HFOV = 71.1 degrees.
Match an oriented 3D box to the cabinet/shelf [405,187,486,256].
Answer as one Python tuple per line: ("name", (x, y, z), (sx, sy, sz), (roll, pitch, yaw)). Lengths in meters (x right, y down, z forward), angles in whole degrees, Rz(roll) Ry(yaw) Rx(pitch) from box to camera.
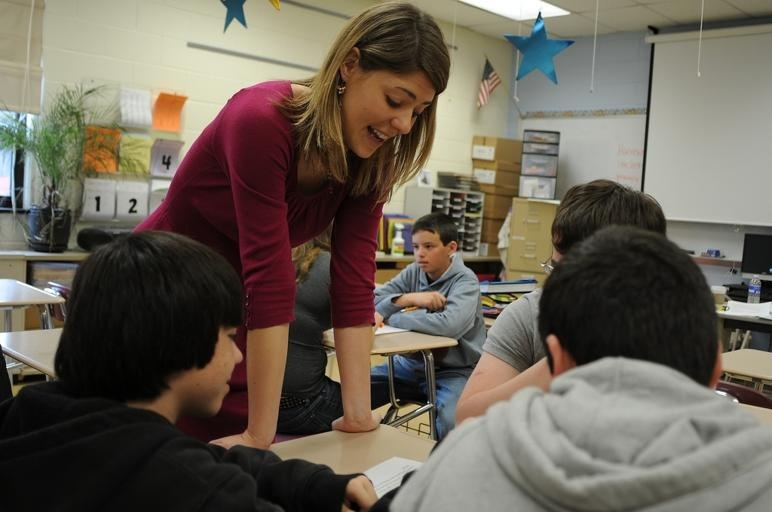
("cabinet/shelf", (0.574, -0.396, 5.450), (0.779, 0.769, 0.362), (5, -3, -40))

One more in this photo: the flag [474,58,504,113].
("flag", (1.359, -2.341, 7.231), (0.244, 0.527, 0.345), (7, 3, 44))

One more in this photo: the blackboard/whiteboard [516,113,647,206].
("blackboard/whiteboard", (2.201, -1.124, 6.045), (1.645, 1.255, 0.058), (3, 2, 41))

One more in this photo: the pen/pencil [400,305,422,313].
("pen/pencil", (0.146, 0.317, 3.256), (0.023, 0.024, 0.152), (-3, -12, -34))

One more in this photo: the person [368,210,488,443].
("person", (0.142, 0.536, 3.299), (0.869, 1.570, 0.972), (1, -5, 4))
